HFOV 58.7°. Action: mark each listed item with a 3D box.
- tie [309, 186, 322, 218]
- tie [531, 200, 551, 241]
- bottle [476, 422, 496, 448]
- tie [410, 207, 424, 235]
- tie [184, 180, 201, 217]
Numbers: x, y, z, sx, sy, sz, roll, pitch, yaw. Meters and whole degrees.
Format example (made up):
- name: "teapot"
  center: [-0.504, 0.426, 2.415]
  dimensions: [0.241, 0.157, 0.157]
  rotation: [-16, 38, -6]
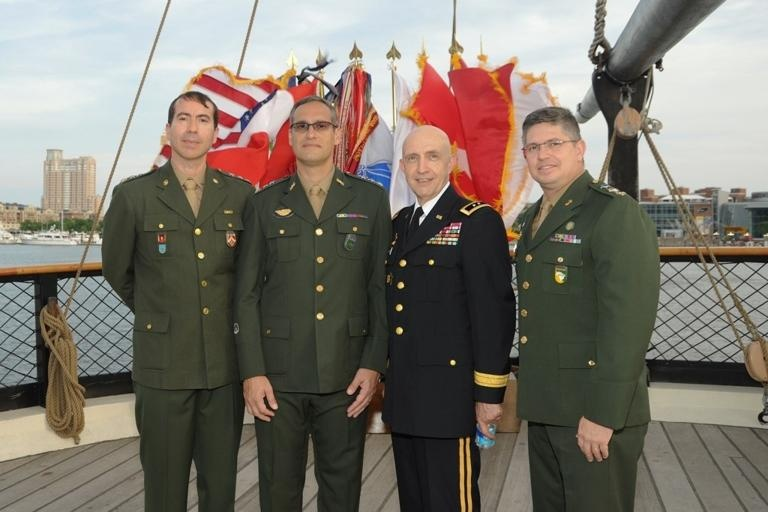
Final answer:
- name: "tie"
  center: [-0.371, -0.298, 3.718]
  dimensions: [0.056, 0.183, 0.048]
  rotation: [1, -25, -3]
- name: "tie"
  center: [0.812, -0.187, 3.550]
  dimensions: [0.045, 0.189, 0.107]
  rotation: [14, -3, -28]
- name: "bottle"
  center: [0.519, 0.928, 3.485]
  dimensions: [0.094, 0.127, 0.050]
  rotation: [2, -3, 16]
- name: "tie"
  center: [0.170, -0.191, 3.605]
  dimensions: [0.045, 0.189, 0.051]
  rotation: [11, -27, 17]
- name: "tie"
  center: [-1.044, -0.338, 3.729]
  dimensions: [0.064, 0.244, 0.064]
  rotation: [-4, -25, -13]
